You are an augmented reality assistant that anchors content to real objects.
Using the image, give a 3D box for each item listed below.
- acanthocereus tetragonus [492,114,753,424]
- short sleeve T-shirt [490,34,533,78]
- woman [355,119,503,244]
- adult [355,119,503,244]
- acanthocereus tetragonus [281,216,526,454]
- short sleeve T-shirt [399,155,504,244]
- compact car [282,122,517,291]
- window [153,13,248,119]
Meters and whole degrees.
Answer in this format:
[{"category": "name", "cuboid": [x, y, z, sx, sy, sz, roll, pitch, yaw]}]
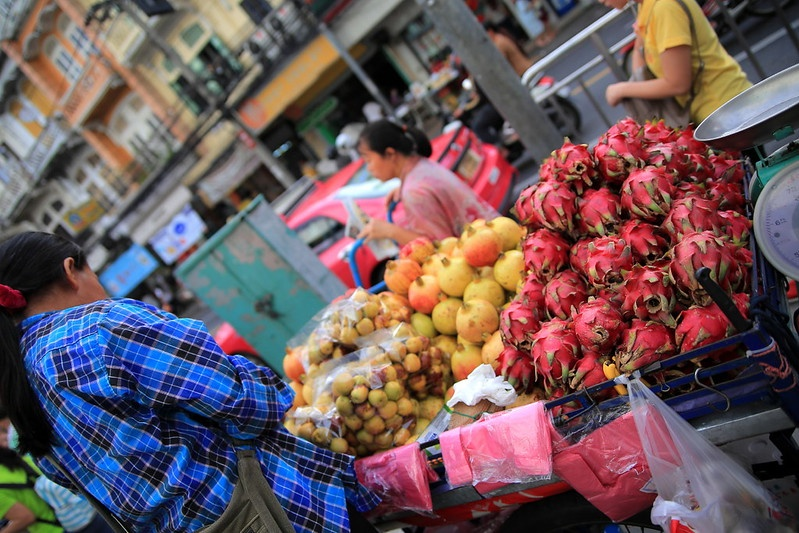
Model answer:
[{"category": "acanthocereus tetragonus", "cuboid": [1.129, 0.155, 3.141, 1.153, 1.307, 0.616, -12, -26, 13]}, {"category": "short sleeve T-shirt", "cuboid": [1.304, -2.498, 6.938, 0.177, 0.639, 0.779, -32, -4, 21]}, {"category": "woman", "cuboid": [0.088, -0.543, 4.308, 0.676, 0.575, 1.158, -52, 30, -3]}, {"category": "adult", "cuboid": [0.090, -0.554, 4.318, 0.676, 0.575, 1.158, -52, 30, -3]}, {"category": "acanthocereus tetragonus", "cuboid": [0.032, 0.403, 3.295, 1.416, 0.497, 1.051, -31, 25, 27]}, {"category": "short sleeve T-shirt", "cuboid": [0.326, -0.420, 4.234, 0.450, 0.369, 0.744, -55, 28, 3]}, {"category": "compact car", "cuboid": [-0.107, -0.490, 6.920, 2.534, 0.873, 1.600, 0, 49, 56]}, {"category": "window", "cuboid": [-2.079, -2.292, 6.321, 0.898, 1.282, 0.447, -43, -35, 9]}]
